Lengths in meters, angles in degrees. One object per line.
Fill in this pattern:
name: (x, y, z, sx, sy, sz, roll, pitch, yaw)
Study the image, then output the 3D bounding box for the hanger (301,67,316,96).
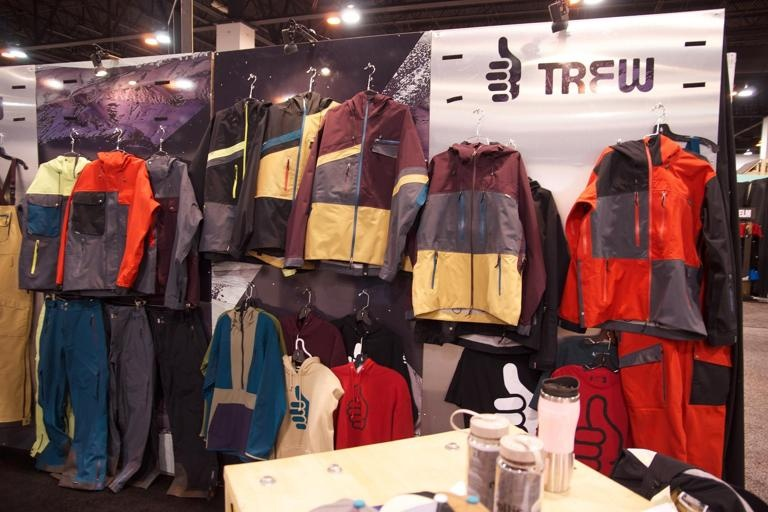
hanger: (-0.562, -1.388, 4.424, 0.090, 0.177, 0.024, 1, -2, 16)

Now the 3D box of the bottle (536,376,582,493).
bottle: (0.857, 0.899, 2.845, 0.327, 0.585, 0.155, 2, -2, -29)

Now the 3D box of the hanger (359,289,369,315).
hanger: (-0.150, 0.346, 4.347, 0.093, 0.192, 0.077, 1, -2, -2)

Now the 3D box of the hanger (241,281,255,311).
hanger: (-1.075, 0.303, 4.454, 0.113, 0.211, 0.226, 2, -2, -14)

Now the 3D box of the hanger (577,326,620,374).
hanger: (1.532, 0.680, 4.047, 0.330, 0.360, 0.039, 2, -15, 18)

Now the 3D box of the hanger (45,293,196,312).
hanger: (-2.257, 0.363, 4.597, 1.047, 0.105, 0.128, 1, -2, 11)

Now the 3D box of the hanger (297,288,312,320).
hanger: (-0.603, 0.366, 4.408, 0.086, 0.235, 0.150, 1, -2, 0)

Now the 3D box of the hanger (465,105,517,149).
hanger: (0.804, -0.961, 4.200, 0.384, 0.414, 0.018, 1, 24, 8)

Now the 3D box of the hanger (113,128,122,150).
hanger: (-2.211, -0.982, 4.742, 0.090, 0.177, 0.016, 1, -2, 18)

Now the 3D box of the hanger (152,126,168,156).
hanger: (-1.825, -0.955, 4.662, 0.092, 0.244, 0.026, 0, -2, 21)
